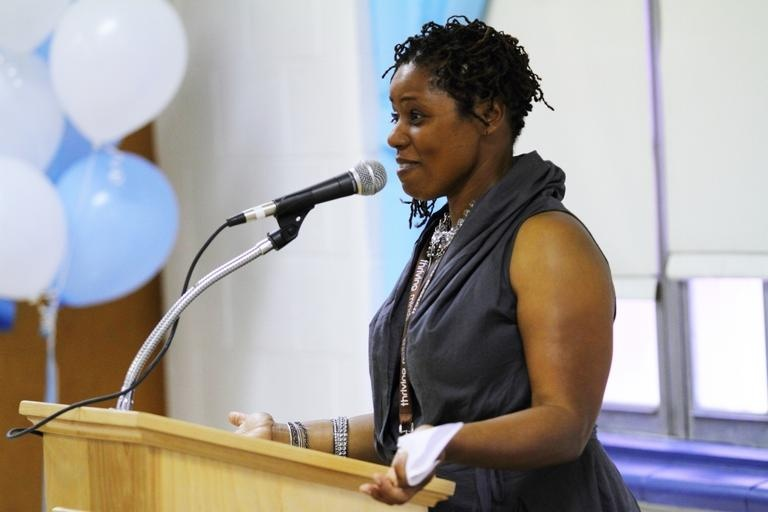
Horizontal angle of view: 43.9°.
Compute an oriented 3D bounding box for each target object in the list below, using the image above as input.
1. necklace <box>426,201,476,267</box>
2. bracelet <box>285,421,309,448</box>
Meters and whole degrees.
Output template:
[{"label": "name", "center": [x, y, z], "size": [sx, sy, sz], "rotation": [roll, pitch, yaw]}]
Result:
[{"label": "necklace", "center": [0.201, -0.057, 3.094], "size": [0.037, 0.204, 0.124], "rotation": [33, -14, -16]}, {"label": "bracelet", "center": [-0.279, 0.571, 3.053], "size": [0.072, 0.076, 0.076], "rotation": [-3, -25, -7]}]
